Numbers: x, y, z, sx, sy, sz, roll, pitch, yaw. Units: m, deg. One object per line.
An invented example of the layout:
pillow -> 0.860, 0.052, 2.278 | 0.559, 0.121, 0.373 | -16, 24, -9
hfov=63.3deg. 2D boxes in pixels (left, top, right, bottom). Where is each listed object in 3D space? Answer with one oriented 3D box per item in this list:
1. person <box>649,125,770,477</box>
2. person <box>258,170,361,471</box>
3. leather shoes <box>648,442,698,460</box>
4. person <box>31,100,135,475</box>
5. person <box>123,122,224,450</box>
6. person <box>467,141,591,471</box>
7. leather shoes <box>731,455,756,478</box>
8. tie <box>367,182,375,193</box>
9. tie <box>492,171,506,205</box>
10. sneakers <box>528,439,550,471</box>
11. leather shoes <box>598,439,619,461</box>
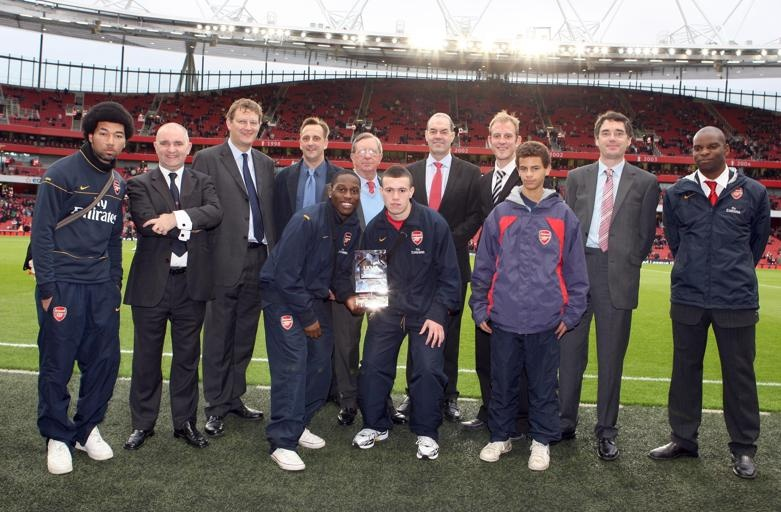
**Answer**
person -> 3.757, 0.437, 7.259 | 1.340, 3.752, 1.156 | 7, 12, 22
person -> -1.017, 0.635, 7.335 | 0.868, 3.154, 1.351 | 10, 13, 34
leather shoes -> 3.256, 2.215, 7.375 | 0.593, 0.240, 0.212 | 2, -9, 1
person -> -3.483, 0.286, 6.934 | 0.819, 3.883, 1.202 | 2, 11, 0
person -> -2.565, 0.273, 7.506 | 1.127, 3.610, 1.108 | -2, 12, -22
person -> 1.571, 0.503, 7.276 | 1.294, 3.546, 1.030 | 5, 11, 16
leather shoes -> 3.967, 2.304, 7.064 | 0.244, 0.178, 0.368 | 8, 12, 26
tie -> -0.259, -0.927, 8.541 | 0.100, 0.141, 0.038 | -1, 1, -29
tie -> 1.397, -0.888, 8.240 | 0.098, 0.394, 0.243 | 9, -6, -34
sneakers -> 1.698, 2.220, 7.157 | 0.241, 0.252, 0.354 | 5, 11, 14
leather shoes -> 2.542, 2.205, 7.310 | 0.282, 0.179, 0.284 | 3, 11, 3
